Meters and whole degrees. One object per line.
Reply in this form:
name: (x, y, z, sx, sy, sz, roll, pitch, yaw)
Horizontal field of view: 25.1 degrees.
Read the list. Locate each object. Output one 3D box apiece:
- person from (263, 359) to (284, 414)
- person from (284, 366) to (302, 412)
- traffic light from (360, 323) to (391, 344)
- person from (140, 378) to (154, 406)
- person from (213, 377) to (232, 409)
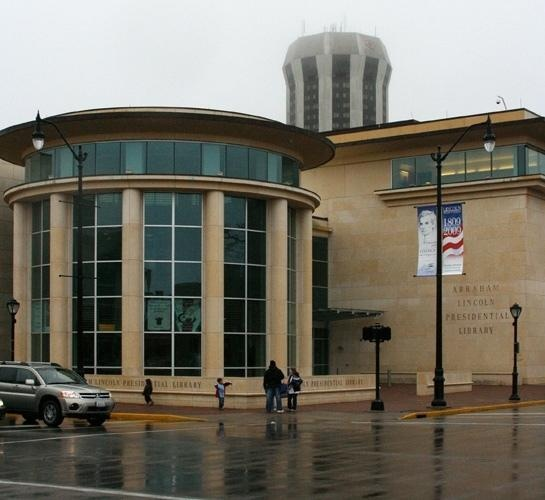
person: (0.041, 4.750, 42.695, 0.716, 1.745, 0.796, -2, -11, 3)
person: (0.792, 4.957, 43.775, 0.505, 1.515, 1.047, -2, -11, 2)
traffic light: (3.797, 2.985, 44.449, 0.932, 0.731, 2.274, -3, -10, 7)
person: (-4.746, 5.373, 46.633, 0.411, 1.084, 1.333, 0, -11, -6)
person: (-1.839, 5.284, 45.131, 0.447, 1.218, 1.181, -2, 2, 18)
